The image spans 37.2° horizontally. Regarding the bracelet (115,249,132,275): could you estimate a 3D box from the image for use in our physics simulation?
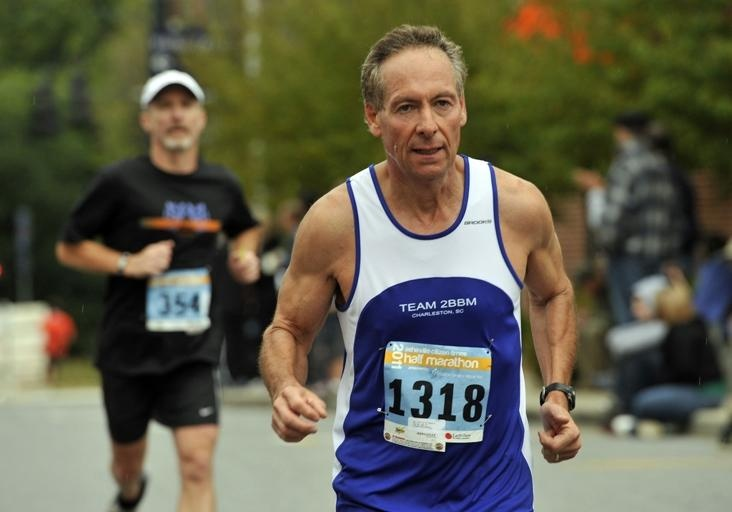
[{"bbox_3d":[-1.464,0.045,6.529,0.098,0.106,0.091,-6,9,46],"label":"bracelet"}]
